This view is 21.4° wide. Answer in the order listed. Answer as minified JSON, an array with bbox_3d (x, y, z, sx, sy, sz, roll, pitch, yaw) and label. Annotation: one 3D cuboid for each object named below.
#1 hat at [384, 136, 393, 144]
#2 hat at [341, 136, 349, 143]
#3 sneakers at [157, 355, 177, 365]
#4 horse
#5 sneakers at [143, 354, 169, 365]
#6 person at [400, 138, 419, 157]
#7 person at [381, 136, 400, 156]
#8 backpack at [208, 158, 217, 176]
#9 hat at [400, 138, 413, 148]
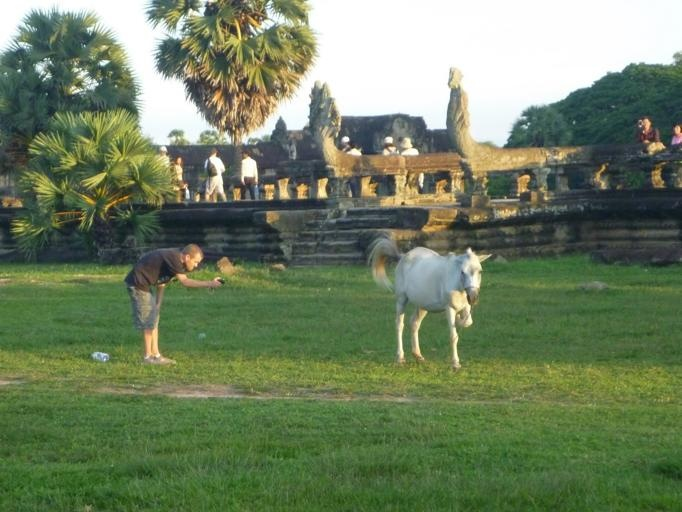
[{"bbox_3d":[1.596,-3.889,61.592,0.202,0.384,0.716,-1,2,3],"label":"hat"},{"bbox_3d":[0.191,-3.985,63.707,0.267,0.209,0.464,0,9,-3],"label":"hat"},{"bbox_3d":[-4.299,2.522,44.401,0.345,0.140,0.225,0,4,22],"label":"sneakers"},{"bbox_3d":[2.335,1.202,44.954,1.172,3.003,4.382,-4,7,-35],"label":"horse"},{"bbox_3d":[-4.548,2.510,44.355,0.434,0.177,0.254,0,2,7],"label":"sneakers"},{"bbox_3d":[2.306,-3.592,60.979,0.646,0.358,0.917,-1,2,1],"label":"person"},{"bbox_3d":[1.675,-3.564,61.465,0.625,0.603,1.096,-2,15,2],"label":"person"},{"bbox_3d":[-4.118,-2.819,57.832,0.243,0.488,0.418,0,18,0],"label":"backpack"},{"bbox_3d":[2.259,-3.776,61.611,0.551,0.392,0.635,0,0,-3],"label":"hat"}]
